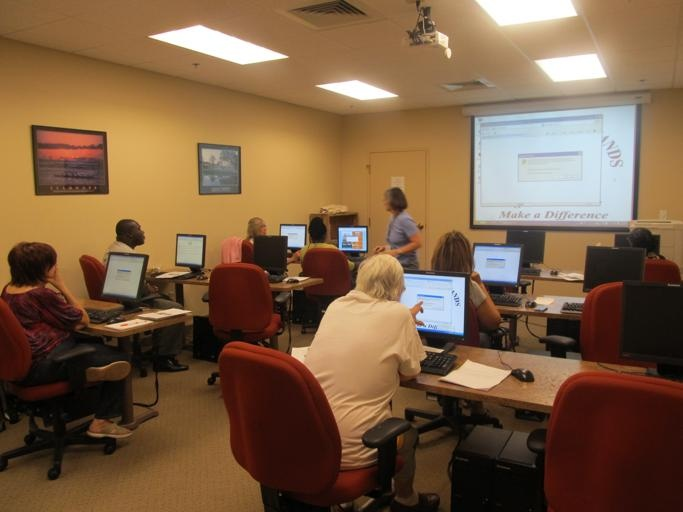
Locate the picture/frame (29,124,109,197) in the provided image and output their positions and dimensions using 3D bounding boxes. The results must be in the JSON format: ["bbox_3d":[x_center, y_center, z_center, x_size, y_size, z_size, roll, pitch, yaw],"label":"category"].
[{"bbox_3d":[-2.723,-0.951,5.249,0.060,0.735,0.803,3,4,32],"label":"picture/frame"}]

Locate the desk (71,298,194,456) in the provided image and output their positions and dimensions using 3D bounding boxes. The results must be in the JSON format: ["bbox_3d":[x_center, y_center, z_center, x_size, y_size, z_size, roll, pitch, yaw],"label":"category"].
[{"bbox_3d":[-1.677,0.909,4.299,0.926,0.927,0.957,2,1,36],"label":"desk"}]

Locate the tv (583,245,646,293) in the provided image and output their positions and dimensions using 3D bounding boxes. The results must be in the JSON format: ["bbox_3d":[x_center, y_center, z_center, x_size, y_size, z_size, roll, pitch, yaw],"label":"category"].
[{"bbox_3d":[2.287,0.062,4.564,0.414,0.501,0.472,2,1,-43],"label":"tv"}]

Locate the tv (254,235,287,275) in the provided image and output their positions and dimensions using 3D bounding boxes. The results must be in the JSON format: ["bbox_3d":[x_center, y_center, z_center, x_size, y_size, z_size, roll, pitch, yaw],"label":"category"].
[{"bbox_3d":[-0.769,-0.039,6.155,0.492,0.484,0.408,3,2,24],"label":"tv"}]

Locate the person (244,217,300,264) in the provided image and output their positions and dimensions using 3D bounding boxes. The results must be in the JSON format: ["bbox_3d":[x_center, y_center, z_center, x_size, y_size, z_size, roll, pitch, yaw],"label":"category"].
[{"bbox_3d":[-1.011,-0.335,6.756,0.809,0.784,0.576,4,7,36],"label":"person"}]

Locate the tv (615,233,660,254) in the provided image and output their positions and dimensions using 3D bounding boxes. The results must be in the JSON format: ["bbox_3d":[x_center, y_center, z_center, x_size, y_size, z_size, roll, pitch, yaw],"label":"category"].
[{"bbox_3d":[2.795,-0.111,4.985,0.129,0.230,0.246,1,-3,-43],"label":"tv"}]

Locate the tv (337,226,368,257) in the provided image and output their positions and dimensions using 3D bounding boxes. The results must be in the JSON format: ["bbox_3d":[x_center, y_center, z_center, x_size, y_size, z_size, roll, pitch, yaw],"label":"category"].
[{"bbox_3d":[0.168,-0.220,7.878,0.423,0.425,0.142,5,15,23],"label":"tv"}]

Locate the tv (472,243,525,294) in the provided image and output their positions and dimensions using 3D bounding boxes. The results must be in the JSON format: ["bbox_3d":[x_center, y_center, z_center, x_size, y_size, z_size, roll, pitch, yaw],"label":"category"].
[{"bbox_3d":[1.404,0.102,4.807,0.478,0.481,0.246,1,8,32],"label":"tv"}]

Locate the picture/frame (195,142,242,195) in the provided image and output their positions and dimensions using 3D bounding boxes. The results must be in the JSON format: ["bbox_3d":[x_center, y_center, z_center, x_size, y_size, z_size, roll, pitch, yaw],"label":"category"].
[{"bbox_3d":[-1.582,-1.119,6.738,0.033,0.693,0.732,1,4,34],"label":"picture/frame"}]

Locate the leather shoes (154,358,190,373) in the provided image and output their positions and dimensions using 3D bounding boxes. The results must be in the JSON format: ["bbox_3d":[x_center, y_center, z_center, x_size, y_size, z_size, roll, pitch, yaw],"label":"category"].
[{"bbox_3d":[-1.693,1.092,5.285,0.353,0.140,0.115,0,2,-5],"label":"leather shoes"}]

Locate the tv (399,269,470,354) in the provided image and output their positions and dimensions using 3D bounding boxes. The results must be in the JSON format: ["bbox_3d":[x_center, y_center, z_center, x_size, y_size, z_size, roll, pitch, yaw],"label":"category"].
[{"bbox_3d":[0.588,0.348,3.306,0.524,0.525,0.223,0,-1,30],"label":"tv"}]

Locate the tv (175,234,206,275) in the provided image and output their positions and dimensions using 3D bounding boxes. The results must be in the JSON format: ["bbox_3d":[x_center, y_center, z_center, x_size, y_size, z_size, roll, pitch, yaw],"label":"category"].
[{"bbox_3d":[-1.717,-0.018,6.063,0.440,0.441,0.148,3,-3,16],"label":"tv"}]

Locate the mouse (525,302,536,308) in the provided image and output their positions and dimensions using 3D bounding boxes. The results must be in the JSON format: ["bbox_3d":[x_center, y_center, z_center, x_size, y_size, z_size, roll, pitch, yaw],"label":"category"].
[{"bbox_3d":[1.579,0.411,4.436,0.053,0.035,0.053,0,-1,-6],"label":"mouse"}]

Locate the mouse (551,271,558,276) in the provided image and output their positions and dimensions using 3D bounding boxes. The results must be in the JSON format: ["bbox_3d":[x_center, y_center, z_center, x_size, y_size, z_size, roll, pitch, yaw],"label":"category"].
[{"bbox_3d":[2.372,0.195,5.932,0.061,0.052,0.061,0,1,-25],"label":"mouse"}]

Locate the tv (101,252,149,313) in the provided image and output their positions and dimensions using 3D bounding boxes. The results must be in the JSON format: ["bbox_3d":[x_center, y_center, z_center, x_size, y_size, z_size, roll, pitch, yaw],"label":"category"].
[{"bbox_3d":[-1.850,0.235,4.532,0.491,0.476,0.178,2,-2,31],"label":"tv"}]

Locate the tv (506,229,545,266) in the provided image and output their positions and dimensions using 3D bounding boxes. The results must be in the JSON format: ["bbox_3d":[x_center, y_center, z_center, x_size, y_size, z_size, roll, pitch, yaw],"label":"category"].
[{"bbox_3d":[2.036,-0.093,5.877,0.439,0.455,0.165,0,-2,32],"label":"tv"}]

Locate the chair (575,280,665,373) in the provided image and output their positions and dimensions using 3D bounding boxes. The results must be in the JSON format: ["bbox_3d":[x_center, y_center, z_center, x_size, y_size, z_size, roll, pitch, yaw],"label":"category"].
[{"bbox_3d":[1.703,0.444,3.478,0.495,0.676,0.560,1,-2,20],"label":"chair"}]

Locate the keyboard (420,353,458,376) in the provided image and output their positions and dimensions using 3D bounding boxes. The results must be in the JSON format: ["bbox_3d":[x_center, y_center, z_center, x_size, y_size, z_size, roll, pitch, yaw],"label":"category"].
[{"bbox_3d":[0.554,0.615,3.072,0.145,0.029,0.158,-3,14,27],"label":"keyboard"}]

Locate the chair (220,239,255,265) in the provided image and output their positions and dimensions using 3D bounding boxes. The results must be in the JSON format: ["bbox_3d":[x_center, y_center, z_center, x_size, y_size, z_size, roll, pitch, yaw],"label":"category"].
[{"bbox_3d":[-1.241,-0.012,6.398,0.278,0.361,0.156,4,-4,12],"label":"chair"}]

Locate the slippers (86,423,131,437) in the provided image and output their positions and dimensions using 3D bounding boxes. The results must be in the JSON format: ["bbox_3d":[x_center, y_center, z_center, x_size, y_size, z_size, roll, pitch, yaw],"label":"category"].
[{"bbox_3d":[-1.668,1.271,3.837,0.292,0.124,0.113,2,-1,-17],"label":"slippers"}]

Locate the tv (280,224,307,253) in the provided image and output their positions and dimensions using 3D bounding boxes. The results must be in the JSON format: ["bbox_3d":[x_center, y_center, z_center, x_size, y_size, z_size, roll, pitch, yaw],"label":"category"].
[{"bbox_3d":[-0.643,-0.245,7.200,0.393,0.424,0.139,3,10,16],"label":"tv"}]

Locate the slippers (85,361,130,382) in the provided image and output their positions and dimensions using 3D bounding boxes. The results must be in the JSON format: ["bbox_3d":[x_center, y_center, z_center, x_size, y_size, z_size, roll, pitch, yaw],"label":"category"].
[{"bbox_3d":[-1.610,0.803,3.709,0.310,0.103,0.128,0,4,-30],"label":"slippers"}]

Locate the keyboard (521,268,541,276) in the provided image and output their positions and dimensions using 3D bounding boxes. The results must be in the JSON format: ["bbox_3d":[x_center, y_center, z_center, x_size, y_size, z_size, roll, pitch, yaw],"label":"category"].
[{"bbox_3d":[2.132,0.184,5.961,0.171,0.041,0.171,4,10,16],"label":"keyboard"}]

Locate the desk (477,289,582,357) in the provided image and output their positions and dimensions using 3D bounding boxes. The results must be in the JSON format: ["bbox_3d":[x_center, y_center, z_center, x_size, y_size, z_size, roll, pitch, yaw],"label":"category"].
[{"bbox_3d":[1.596,0.587,4.536,0.742,0.358,0.454,1,3,45],"label":"desk"}]
